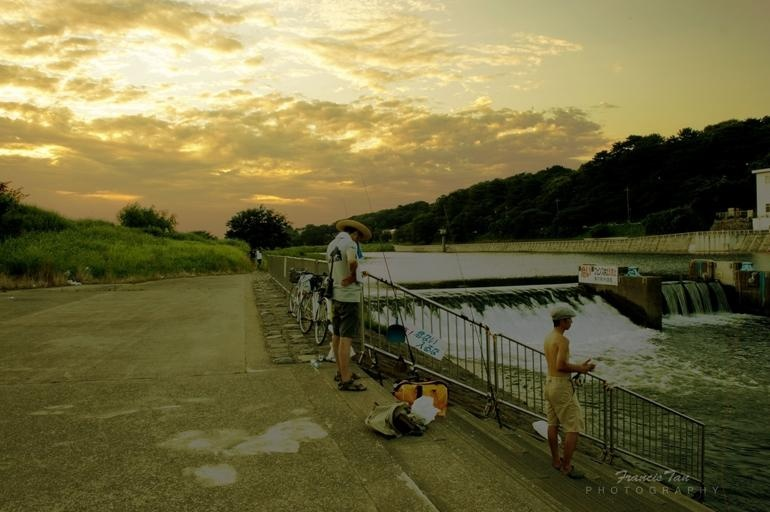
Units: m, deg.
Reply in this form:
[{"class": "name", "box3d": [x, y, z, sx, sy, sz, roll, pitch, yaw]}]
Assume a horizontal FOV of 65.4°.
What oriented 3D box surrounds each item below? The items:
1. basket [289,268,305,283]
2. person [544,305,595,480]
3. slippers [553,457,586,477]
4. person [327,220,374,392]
[{"class": "basket", "box3d": [-2.523, 0.555, 16.889, 0.465, 0.383, 0.432, 1, 9, -18]}, {"class": "person", "box3d": [3.116, 2.311, 10.425, 0.496, 2.734, 1.049, 0, 14, -33]}, {"class": "slippers", "box3d": [3.152, 3.620, 10.366, 0.245, 0.135, 0.422, 5, 8, -36]}, {"class": "person", "box3d": [-0.248, 0.902, 11.983, 1.224, 2.926, 1.486, 0, 0, -19]}]
